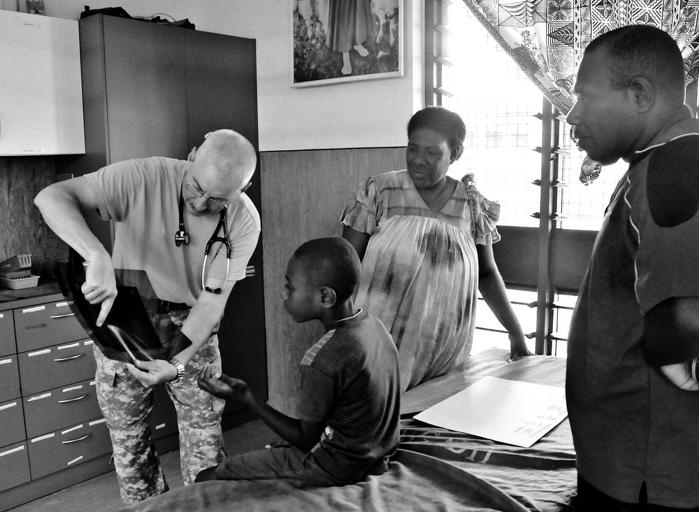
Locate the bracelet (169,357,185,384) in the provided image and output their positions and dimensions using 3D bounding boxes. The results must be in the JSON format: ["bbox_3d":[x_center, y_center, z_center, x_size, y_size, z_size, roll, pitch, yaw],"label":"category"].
[{"bbox_3d":[-0.596,0.404,2.121,0.052,0.087,0.074,3,12,-14],"label":"bracelet"}]

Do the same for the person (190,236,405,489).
[{"bbox_3d":[-0.170,0.454,2.058,0.628,1.007,0.436,7,11,11],"label":"person"}]

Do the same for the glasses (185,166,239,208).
[{"bbox_3d":[-0.503,-0.245,2.158,0.147,0.089,0.157,32,15,-21],"label":"glasses"}]

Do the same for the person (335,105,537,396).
[{"bbox_3d":[0.352,0.148,2.786,0.925,1.492,0.560,4,22,2],"label":"person"}]
